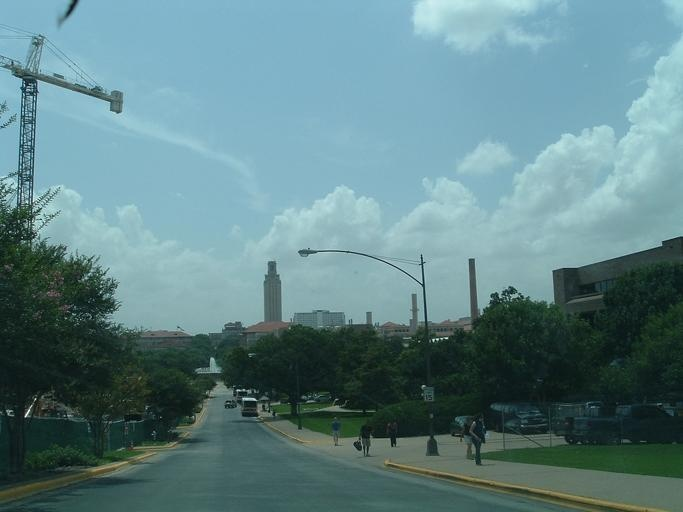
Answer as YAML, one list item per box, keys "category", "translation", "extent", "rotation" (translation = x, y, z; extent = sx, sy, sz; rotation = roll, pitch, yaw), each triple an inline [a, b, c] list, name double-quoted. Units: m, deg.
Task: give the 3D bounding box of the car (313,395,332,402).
- category: "car"
  translation: [-2.973, 24.006, 170.331]
  extent: [2.523, 1.283, 1.557]
  rotation: [-2, -1, -8]

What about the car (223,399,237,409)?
- category: "car"
  translation: [-17.542, 23.326, 162.595]
  extent: [1.767, 1.437, 2.696]
  rotation: [4, -15, -16]

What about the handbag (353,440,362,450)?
- category: "handbag"
  translation: [1.093, 12.868, 69.313]
  extent: [0.555, 0.689, 0.930]
  rotation: [4, -41, -2]
